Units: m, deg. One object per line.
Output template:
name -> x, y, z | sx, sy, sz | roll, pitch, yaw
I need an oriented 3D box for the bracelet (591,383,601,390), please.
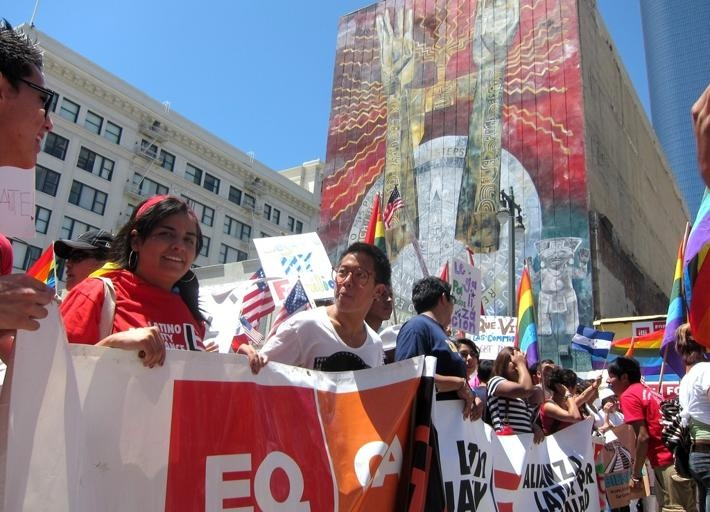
bracelet -> 3.256, 1.745, 8.298 | 0.029, 0.135, 0.123 | -7, -7, 42

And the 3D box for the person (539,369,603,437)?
person -> 3.516, 2.429, 9.618 | 1.010, 0.867, 0.983 | -3, -8, 21

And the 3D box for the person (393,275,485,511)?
person -> 0.728, 1.141, 5.137 | 0.547, 2.087, 0.726 | -16, -35, 23

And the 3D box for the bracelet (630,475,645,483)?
bracelet -> 3.142, 2.449, 6.802 | 0.092, 0.108, 0.161 | -5, -30, 16

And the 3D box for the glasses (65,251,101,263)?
glasses -> -2.278, 0.001, 5.111 | 0.173, 0.055, 0.101 | 16, -23, -35

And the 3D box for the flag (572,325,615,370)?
flag -> 5.517, 2.041, 14.192 | 0.505, 0.899, 0.888 | 14, -23, -39
